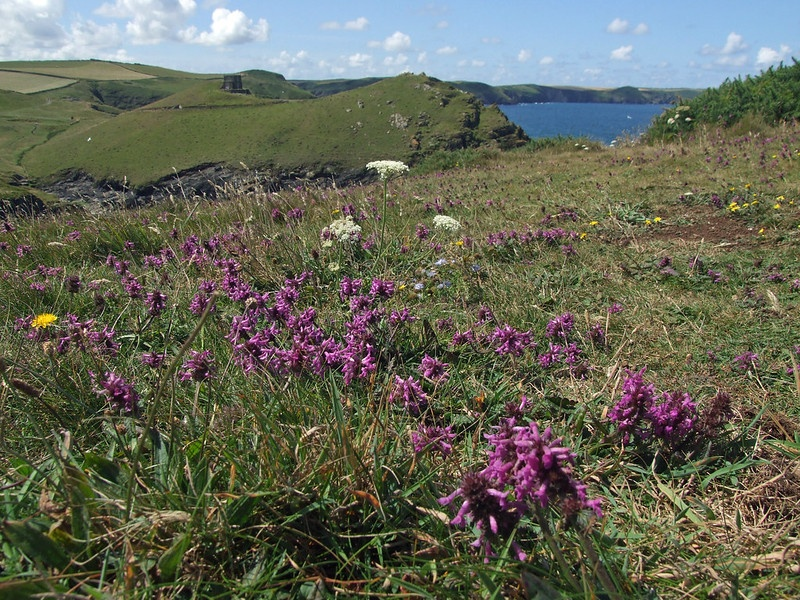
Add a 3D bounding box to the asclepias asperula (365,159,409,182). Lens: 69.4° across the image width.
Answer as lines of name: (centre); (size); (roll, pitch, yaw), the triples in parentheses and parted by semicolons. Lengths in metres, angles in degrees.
asclepias asperula: (-0.137, -1.532, 6.617); (0.507, 0.258, 0.504); (1, 13, -1)
